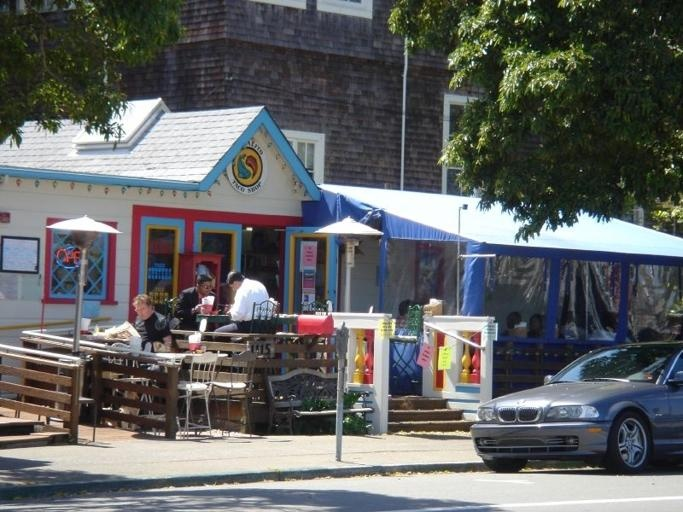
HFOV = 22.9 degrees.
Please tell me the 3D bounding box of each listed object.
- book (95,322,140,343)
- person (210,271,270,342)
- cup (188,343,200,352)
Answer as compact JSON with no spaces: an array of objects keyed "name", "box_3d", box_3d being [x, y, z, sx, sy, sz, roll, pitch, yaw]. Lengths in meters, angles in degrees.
[{"name":"book","box_3d":[-3.825,1.337,29.121,0.453,0.225,0.568,0,-2,-35]},{"name":"person","box_3d":[-1.733,0.771,28.937,0.916,1.104,0.838,2,11,27]},{"name":"cup","box_3d":[-2.417,1.509,27.875,0.158,0.124,0.151,0,-4,0]}]
